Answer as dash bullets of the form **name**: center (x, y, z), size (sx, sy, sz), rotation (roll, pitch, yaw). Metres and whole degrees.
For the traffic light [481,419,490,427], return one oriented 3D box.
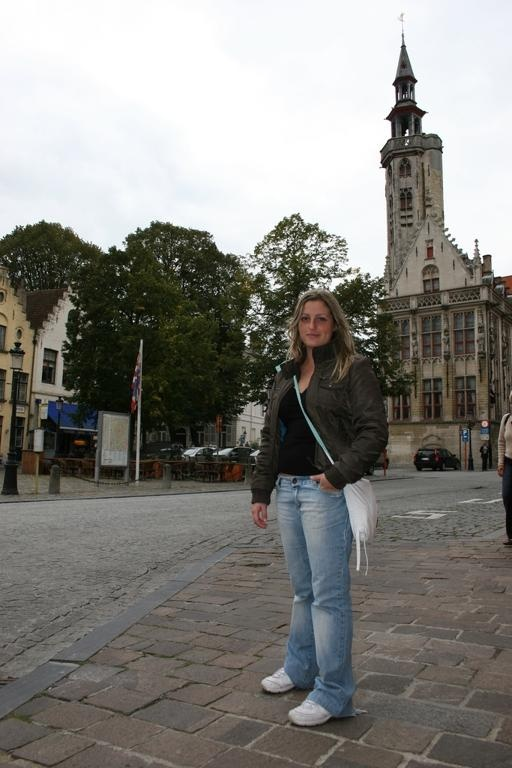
- **traffic light**: center (17.216, 2.802, 45.324), size (0.512, 0.653, 0.649), rotation (10, -5, -25)

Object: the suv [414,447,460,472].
- **suv**: center (11.796, 4.708, 39.134), size (3.013, 1.372, 1.319), rotation (6, -9, -44)

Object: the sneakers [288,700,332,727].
- **sneakers**: center (0.207, 1.196, 2.239), size (0.173, 0.069, 0.060), rotation (12, -27, -20)

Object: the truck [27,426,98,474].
- **truck**: center (-9.102, 3.105, 29.081), size (3.705, 2.270, 2.004), rotation (15, -7, -37)

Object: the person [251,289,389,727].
- **person**: center (0.268, 0.418, 2.528), size (0.483, 1.708, 0.596), rotation (1, -7, -9)

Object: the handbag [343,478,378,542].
- **handbag**: center (0.422, 0.494, 2.411), size (0.113, 0.264, 0.193), rotation (-2, -7, 16)

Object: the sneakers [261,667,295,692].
- **sneakers**: center (0.101, 1.244, 2.581), size (0.160, 0.064, 0.056), rotation (15, -28, -24)
